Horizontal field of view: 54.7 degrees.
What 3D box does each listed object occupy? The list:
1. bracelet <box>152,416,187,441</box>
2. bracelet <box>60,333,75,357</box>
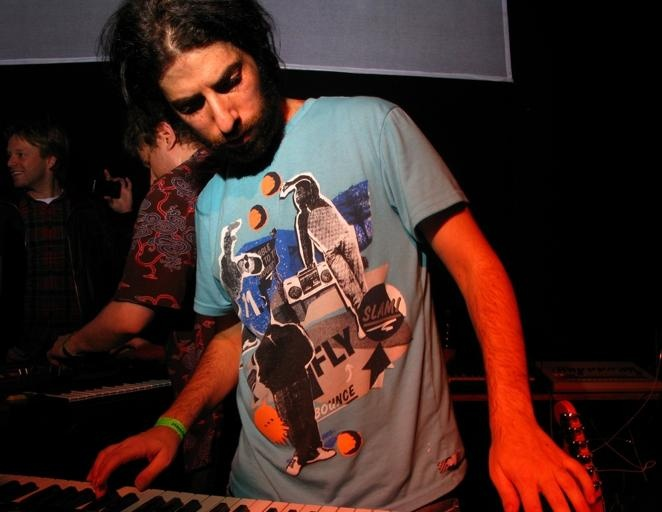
[{"bbox_3d":[-0.617,0.653,2.468,0.083,0.037,0.089,28,-17,4],"label":"bracelet"},{"bbox_3d":[-1.388,0.465,3.390,0.037,0.122,0.084,11,-2,5],"label":"bracelet"}]
